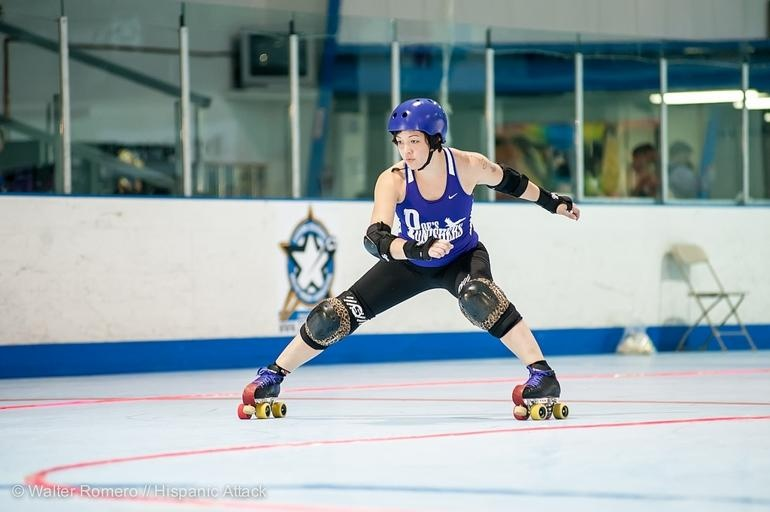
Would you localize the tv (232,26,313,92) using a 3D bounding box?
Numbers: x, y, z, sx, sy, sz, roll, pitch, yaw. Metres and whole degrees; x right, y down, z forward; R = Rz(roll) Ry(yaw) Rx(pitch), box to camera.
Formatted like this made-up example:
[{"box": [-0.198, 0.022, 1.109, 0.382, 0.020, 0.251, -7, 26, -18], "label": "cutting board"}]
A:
[{"box": [-1.414, -2.382, 12.402, 1.110, 0.846, 0.616, 0, 4, -18], "label": "tv"}]
